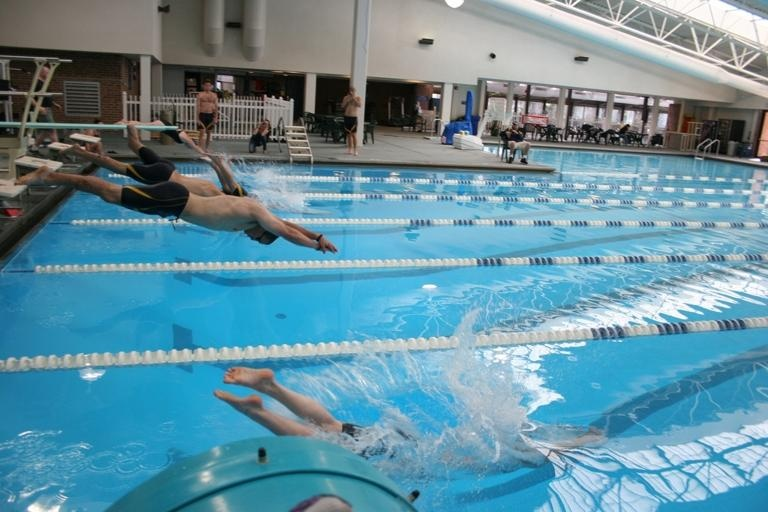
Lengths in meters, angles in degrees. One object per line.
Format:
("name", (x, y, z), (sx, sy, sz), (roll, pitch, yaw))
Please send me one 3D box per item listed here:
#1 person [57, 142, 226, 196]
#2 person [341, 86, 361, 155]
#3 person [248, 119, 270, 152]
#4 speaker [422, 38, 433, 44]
("person", (-2.275, -0.707, 5.134), (1.201, 0.273, 0.690), (17, 16, 9))
("person", (-0.782, -3.176, 12.770), (0.369, 1.500, 0.887), (4, 18, -4))
("person", (-2.694, -2.573, 11.655), (0.374, 0.688, 0.398), (-2, 20, -19))
("speaker", (1.476, -7.382, 18.667), (0.380, 0.100, 0.145), (0, 58, -1))
